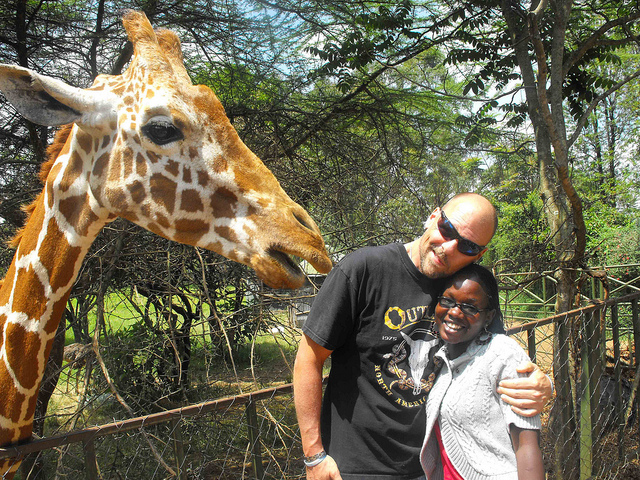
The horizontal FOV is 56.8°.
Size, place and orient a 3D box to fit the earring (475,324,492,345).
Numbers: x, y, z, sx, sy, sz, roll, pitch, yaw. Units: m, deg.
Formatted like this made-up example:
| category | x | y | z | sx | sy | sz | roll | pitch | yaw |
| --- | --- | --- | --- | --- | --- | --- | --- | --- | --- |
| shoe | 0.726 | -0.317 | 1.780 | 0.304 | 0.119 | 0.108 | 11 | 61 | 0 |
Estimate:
| category | x | y | z | sx | sy | sz | roll | pitch | yaw |
| --- | --- | --- | --- | --- | --- | --- | --- | --- | --- |
| earring | 1.208 | 0.718 | 4.347 | 0.104 | 0.155 | 0.036 | 12 | -20 | 35 |
